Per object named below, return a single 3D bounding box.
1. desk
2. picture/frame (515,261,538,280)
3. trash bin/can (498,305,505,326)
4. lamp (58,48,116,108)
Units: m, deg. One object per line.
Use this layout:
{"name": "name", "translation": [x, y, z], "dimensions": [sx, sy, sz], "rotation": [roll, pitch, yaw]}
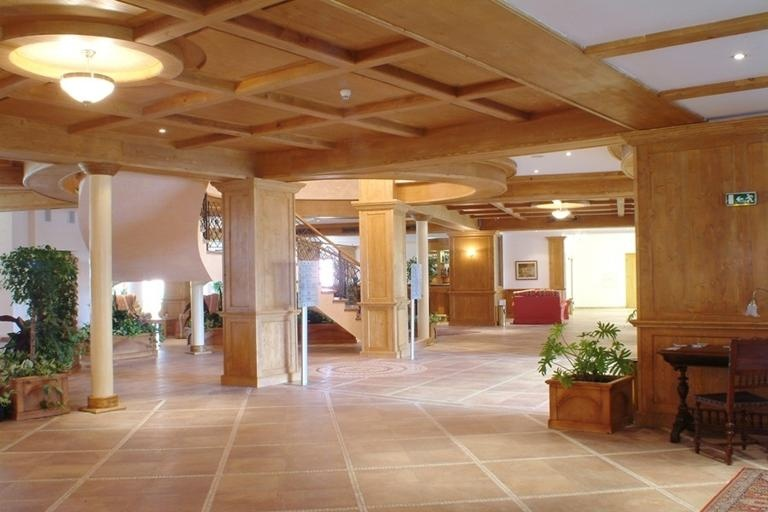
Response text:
{"name": "desk", "translation": [3.341, 1.466, 5.608], "dimensions": [0.964, 0.901, 1.271], "rotation": [-3, -5, 32]}
{"name": "picture/frame", "translation": [6.320, 0.637, 23.011], "dimensions": [1.202, 0.701, 0.097], "rotation": [2, 1, 5]}
{"name": "trash bin/can", "translation": [4.279, 2.154, 19.058], "dimensions": [0.174, 0.652, 0.311], "rotation": [-4, -2, 38]}
{"name": "lamp", "translation": [-2.676, -1.623, 4.750], "dimensions": [0.448, 0.410, 0.350], "rotation": [-3, -1, 25]}
